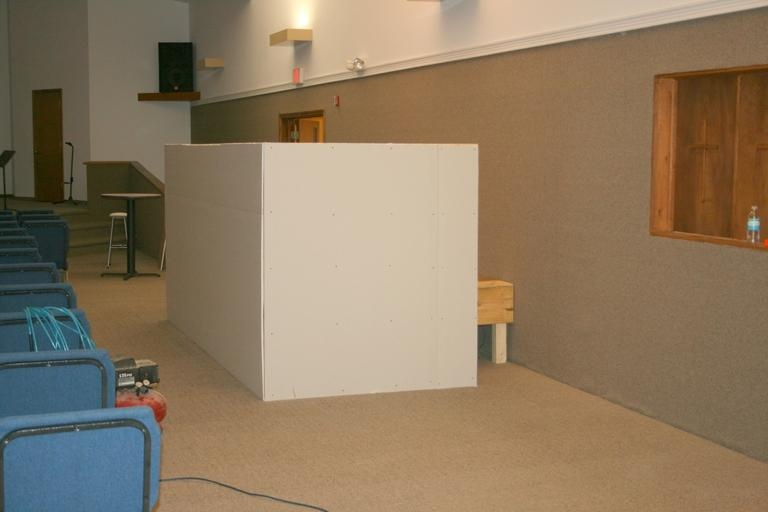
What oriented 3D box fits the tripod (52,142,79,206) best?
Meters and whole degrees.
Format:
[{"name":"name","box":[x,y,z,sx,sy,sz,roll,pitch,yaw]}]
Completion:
[{"name":"tripod","box":[-6.843,-1.848,12.952,0.260,1.311,0.626,-6,13,-29]}]
